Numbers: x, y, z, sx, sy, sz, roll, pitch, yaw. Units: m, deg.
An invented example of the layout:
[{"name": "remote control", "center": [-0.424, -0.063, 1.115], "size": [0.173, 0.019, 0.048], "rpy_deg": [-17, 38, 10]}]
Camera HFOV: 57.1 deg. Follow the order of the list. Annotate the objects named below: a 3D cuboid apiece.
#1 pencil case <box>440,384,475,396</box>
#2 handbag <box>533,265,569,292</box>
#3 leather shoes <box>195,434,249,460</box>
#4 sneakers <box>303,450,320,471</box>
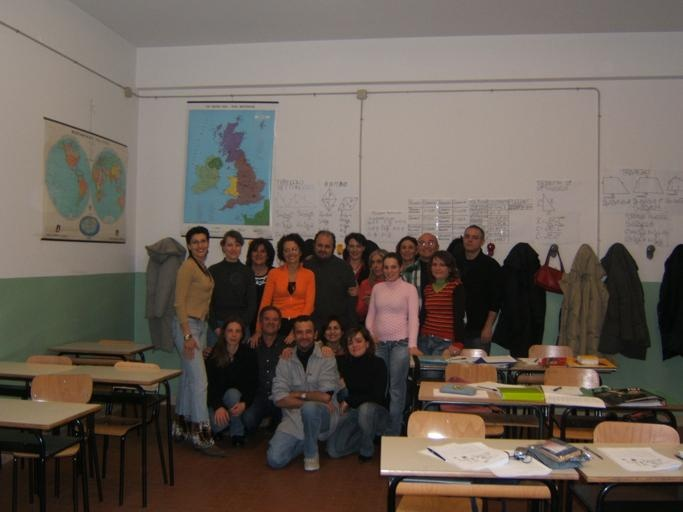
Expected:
[{"name": "pencil case", "center": [0.912, 1.039, 4.892], "size": [0.282, 0.066, 0.168], "rpy_deg": [0, -1, 16]}, {"name": "handbag", "center": [2.298, 0.260, 6.913], "size": [0.222, 0.219, 0.103], "rpy_deg": [16, 2, 2]}, {"name": "leather shoes", "center": [-1.118, 1.788, 5.873], "size": [0.493, 0.228, 0.168], "rpy_deg": [-19, -23, 38]}, {"name": "sneakers", "center": [-0.266, 1.812, 5.508], "size": [0.089, 0.212, 0.211], "rpy_deg": [0, -11, 1]}]
